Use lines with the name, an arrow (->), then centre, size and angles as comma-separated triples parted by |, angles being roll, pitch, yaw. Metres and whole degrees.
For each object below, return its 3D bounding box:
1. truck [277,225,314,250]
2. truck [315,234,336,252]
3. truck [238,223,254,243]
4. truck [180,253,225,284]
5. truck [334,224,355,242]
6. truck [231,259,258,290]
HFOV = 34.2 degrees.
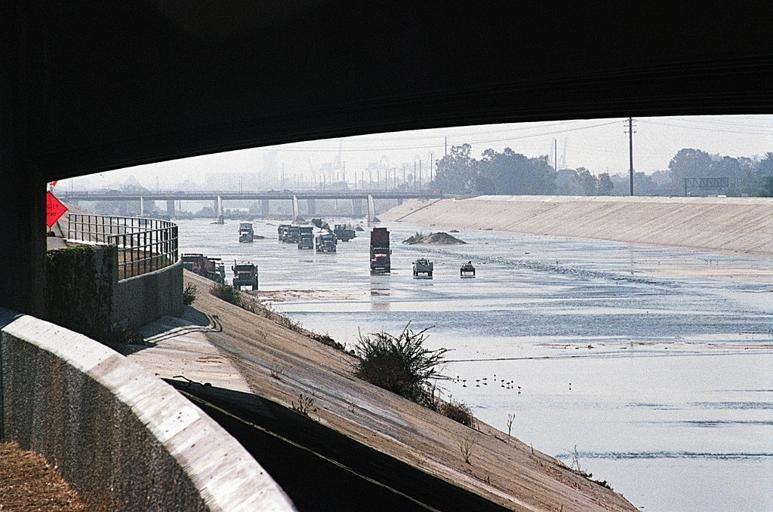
truck -> -11.828, -2.628, 160.752 | 2.684, 2.424, 7.422 | 0, 1, -15
truck -> -6.535, -1.405, 136.788 | 1.491, 1.687, 2.908 | 1, 2, -10
truck -> -18.456, -3.173, 167.721 | 2.373, 2.388, 4.152 | 0, -3, -8
truck -> -12.622, 0.746, 87.289 | 2.142, 2.094, 4.719 | -1, -2, 8
truck -> -5.837, -3.141, 169.013 | 1.836, 1.543, 3.208 | 0, 1, -12
truck -> -9.761, 1.287, 86.759 | 1.383, 1.468, 2.551 | 0, -4, -7
